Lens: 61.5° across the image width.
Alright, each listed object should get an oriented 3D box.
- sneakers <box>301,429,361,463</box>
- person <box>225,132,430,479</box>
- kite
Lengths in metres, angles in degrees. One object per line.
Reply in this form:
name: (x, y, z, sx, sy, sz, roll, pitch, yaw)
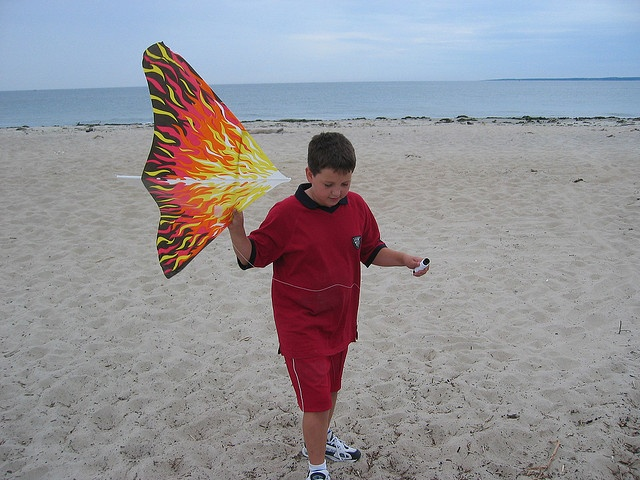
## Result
sneakers: (0.097, 1.623, 4.263, 0.480, 0.206, 0.147, 8, 16, 2)
person: (0.030, 0.426, 3.906, 1.000, 2.314, 0.744, -21, 27, -37)
kite: (-0.786, -0.547, 3.658, 0.875, 1.502, 0.594, -14, 23, -24)
